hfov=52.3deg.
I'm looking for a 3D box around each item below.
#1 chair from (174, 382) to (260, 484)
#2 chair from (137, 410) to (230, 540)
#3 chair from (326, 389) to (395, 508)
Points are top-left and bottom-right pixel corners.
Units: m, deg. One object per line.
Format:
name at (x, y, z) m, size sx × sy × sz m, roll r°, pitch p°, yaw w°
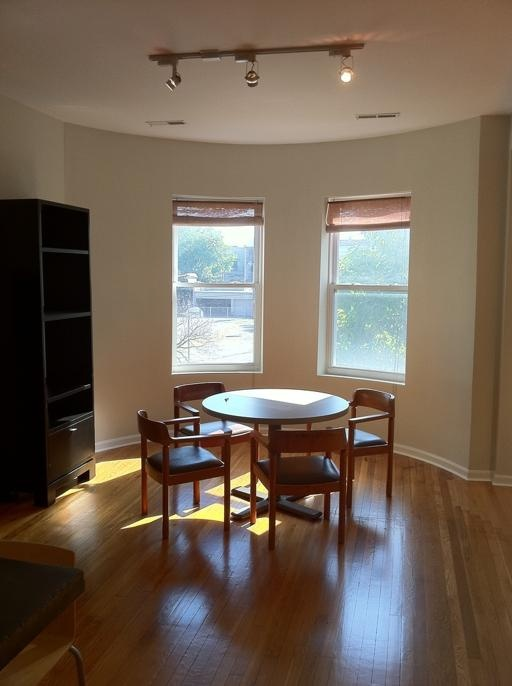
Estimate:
chair at (-0.328, 0.662, 3.892) m, size 0.461 × 0.748 × 0.430 m, roll -4°, pitch 2°, yaw -41°
chair at (-0.467, 0.770, 3.204) m, size 0.431 × 0.748 × 0.486 m, roll -3°, pitch 7°, yaw -31°
chair at (0.744, 0.736, 3.815) m, size 0.382 × 0.770 × 0.524 m, roll -2°, pitch 4°, yaw -26°
